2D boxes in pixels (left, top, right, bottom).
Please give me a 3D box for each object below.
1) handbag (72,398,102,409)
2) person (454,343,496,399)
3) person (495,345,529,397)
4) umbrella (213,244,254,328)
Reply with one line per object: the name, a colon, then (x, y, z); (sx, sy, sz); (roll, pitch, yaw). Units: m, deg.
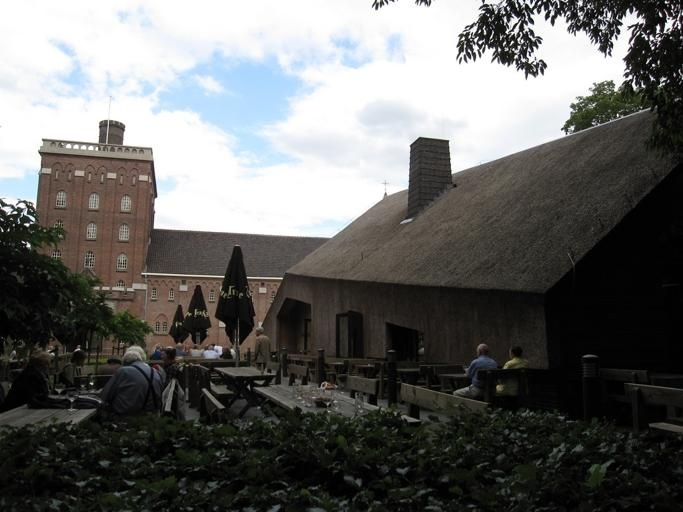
handbag: (-3.593, 2.073, 8.265); (0.236, 0.080, 0.243); (2, -5, -4)
person: (2.372, 1.982, 10.114); (0.581, 0.877, 0.634); (11, -17, -34)
person: (2.854, 1.933, 9.897); (0.510, 0.859, 0.629); (8, -13, -18)
umbrella: (-2.805, 0.827, 15.705); (1.003, 2.386, 1.413); (5, -10, -12)
